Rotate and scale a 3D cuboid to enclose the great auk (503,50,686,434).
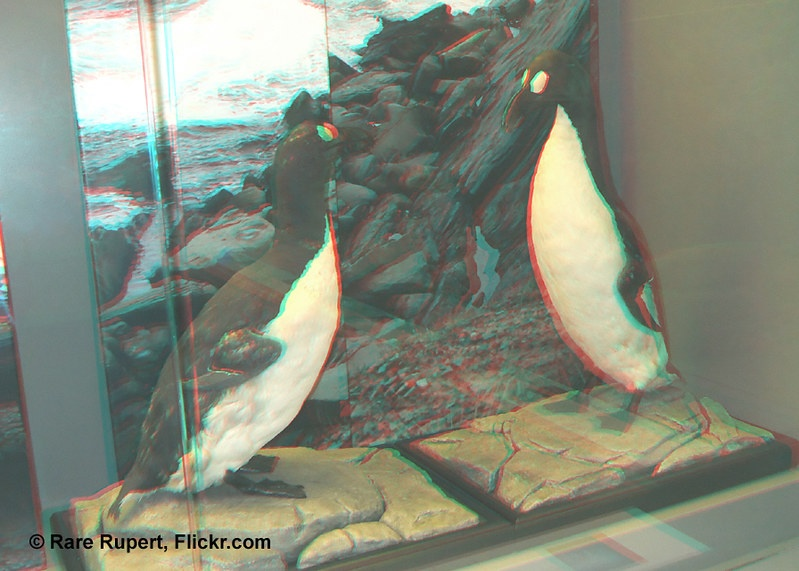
[{"bbox_3d":[0.418,-0.136,1.847,0.160,0.754,0.315,-19,17,-34],"label":"great auk"}]
